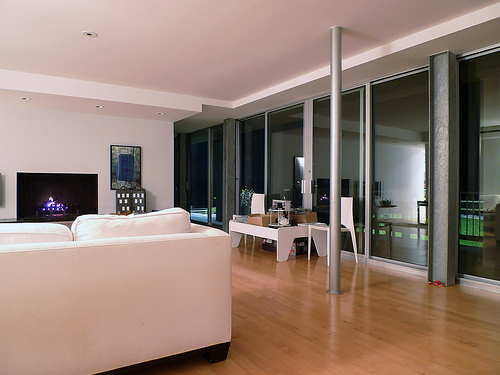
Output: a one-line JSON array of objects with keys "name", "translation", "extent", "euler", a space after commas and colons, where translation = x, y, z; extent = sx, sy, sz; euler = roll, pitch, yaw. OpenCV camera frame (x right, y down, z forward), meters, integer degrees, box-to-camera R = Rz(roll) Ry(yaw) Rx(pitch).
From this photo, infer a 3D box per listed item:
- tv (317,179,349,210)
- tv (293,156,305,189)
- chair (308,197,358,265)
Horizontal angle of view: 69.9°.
[{"name": "tv", "translation": [1.217, 0.104, 5.162], "extent": [0.226, 0.503, 0.497], "euler": [1, -3, -34]}, {"name": "tv", "translation": [0.901, -0.263, 6.557], "extent": [0.047, 0.610, 0.258], "euler": [-4, 5, -35]}, {"name": "chair", "translation": [1.193, 0.670, 5.388], "extent": [0.827, 0.996, 1.317], "euler": [1, 5, 23]}]
